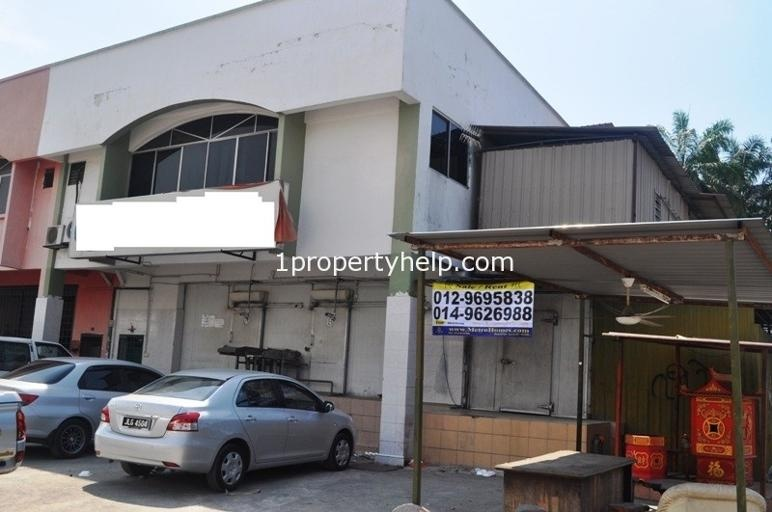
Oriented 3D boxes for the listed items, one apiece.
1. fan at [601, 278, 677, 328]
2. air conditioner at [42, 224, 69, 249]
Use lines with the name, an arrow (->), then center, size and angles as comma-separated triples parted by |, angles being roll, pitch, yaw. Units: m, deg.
fan -> 6.372, 1.412, 16.743 | 1.652, 1.235, 1.649 | -1, -5, -7
air conditioner -> -11.009, -0.613, 22.474 | 0.789, 0.665, 0.416 | -4, -9, 33
